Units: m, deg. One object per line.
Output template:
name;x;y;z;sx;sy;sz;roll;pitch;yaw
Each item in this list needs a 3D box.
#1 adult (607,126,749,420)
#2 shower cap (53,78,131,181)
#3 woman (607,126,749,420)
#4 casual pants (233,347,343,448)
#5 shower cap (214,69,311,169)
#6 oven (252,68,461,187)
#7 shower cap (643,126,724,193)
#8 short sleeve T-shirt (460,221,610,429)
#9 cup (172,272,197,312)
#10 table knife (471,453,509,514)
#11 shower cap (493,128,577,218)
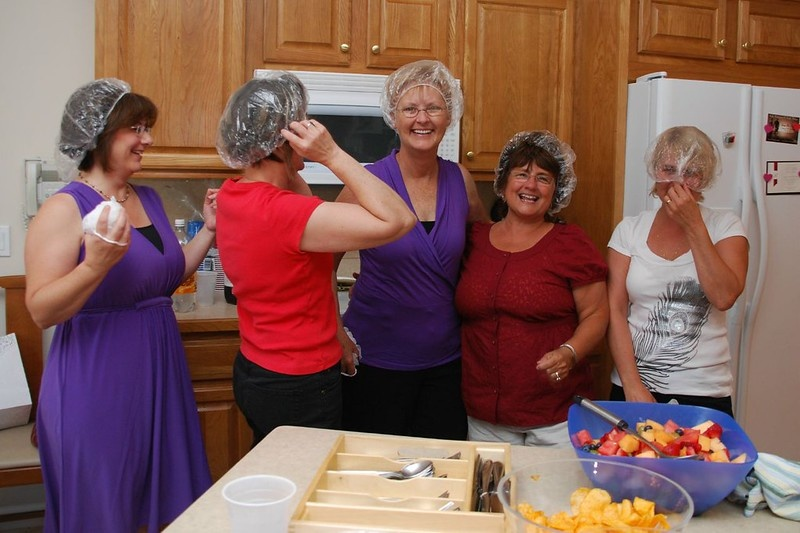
adult;1.018;0.023;2.362;0.501;1.072;0.332;-4;7;-10
shower cap;-1.068;-0.477;2.214;0.102;0.315;0.269;20;12;9
woman;1.018;0.023;2.362;0.501;1.072;0.332;-4;7;-10
casual pants;-0.413;0.348;2.178;0.279;0.494;0.342;-2;5;-29
shower cap;-0.420;-0.459;1.990;0.263;0.286;0.126;-4;7;-9
oven;-0.201;-0.535;3.400;0.864;0.555;0.571;3;2;-7
shower cap;1.035;-0.387;2.323;0.208;0.256;0.257;2;6;10
short sleeve T-shirt;0.483;0.224;2.347;0.709;0.733;0.435;-3;-7;38
cup;-1.039;0.123;3.089;0.122;0.194;0.193;-1;0;-21
table knife;0.221;0.548;1.583;0.059;0.037;0.263;1;10;4
shower cap;0.583;-0.404;2.570;0.285;0.351;0.124;8;41;21
